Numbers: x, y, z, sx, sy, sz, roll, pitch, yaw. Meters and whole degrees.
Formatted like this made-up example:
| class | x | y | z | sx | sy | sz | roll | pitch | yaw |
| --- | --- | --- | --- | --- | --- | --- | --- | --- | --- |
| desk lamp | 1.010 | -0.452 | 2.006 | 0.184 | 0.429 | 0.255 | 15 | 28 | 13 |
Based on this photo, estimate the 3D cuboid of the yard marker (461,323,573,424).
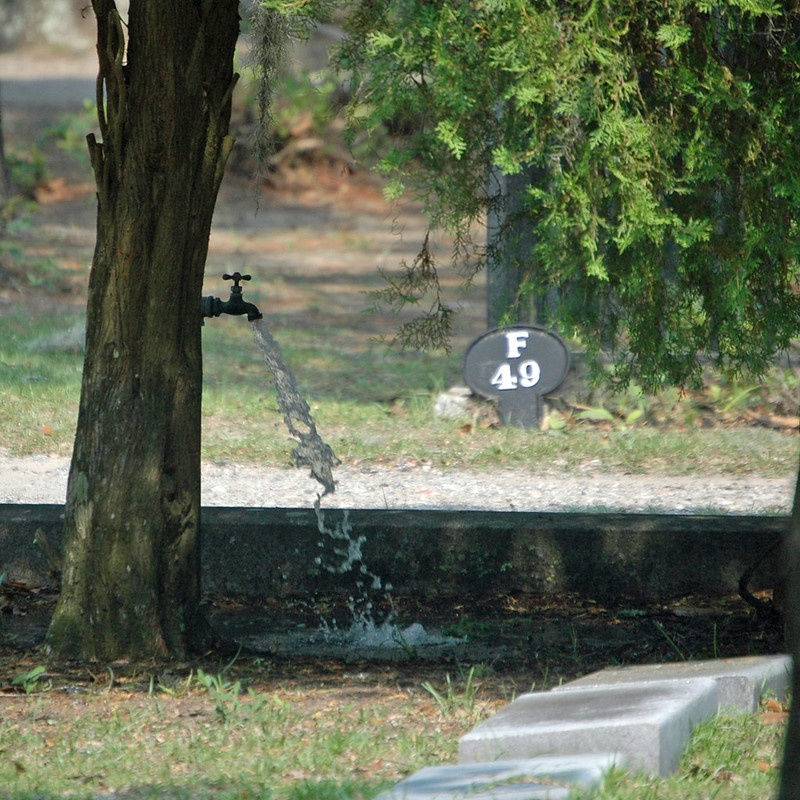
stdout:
| class | x | y | z | sx | sy | sz | roll | pitch | yaw |
| --- | --- | --- | --- | --- | --- | --- | --- | --- | --- |
| yard marker | 0.696 | -0.118 | 13.725 | 0.645 | 0.776 | 0.040 | -6 | 33 | 5 |

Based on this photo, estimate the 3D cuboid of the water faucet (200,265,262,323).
| class | x | y | z | sx | sy | sz | roll | pitch | yaw |
| --- | --- | --- | --- | --- | --- | --- | --- | --- | --- |
| water faucet | -0.828 | -0.459 | 10.372 | 0.382 | 0.249 | 0.144 | -2 | 13 | 4 |
